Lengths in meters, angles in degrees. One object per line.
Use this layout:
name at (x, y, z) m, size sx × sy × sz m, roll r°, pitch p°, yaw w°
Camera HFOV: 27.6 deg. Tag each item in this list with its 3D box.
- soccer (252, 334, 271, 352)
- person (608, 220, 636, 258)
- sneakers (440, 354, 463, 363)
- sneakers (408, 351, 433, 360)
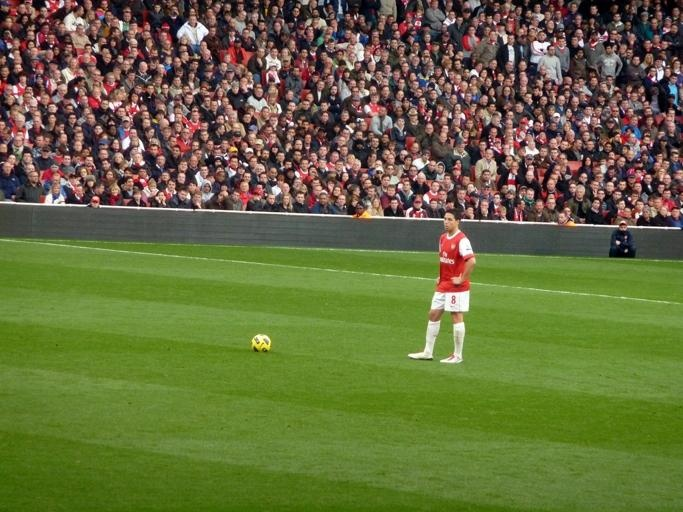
soccer at (-1.393, 1.464, 24.103) m, size 0.342 × 0.254 × 0.381 m, roll 2°, pitch 13°, yaw -6°
person at (7.629, -0.461, 37.229) m, size 0.691 × 1.068 × 0.788 m, roll 1°, pitch 13°, yaw -8°
sneakers at (1.909, 1.762, 24.050) m, size 0.392 × 0.162 × 0.151 m, roll -1°, pitch -8°, yaw -1°
sneakers at (1.368, 1.723, 24.060) m, size 0.421 × 0.193 × 0.157 m, roll 7°, pitch -5°, yaw 7°
